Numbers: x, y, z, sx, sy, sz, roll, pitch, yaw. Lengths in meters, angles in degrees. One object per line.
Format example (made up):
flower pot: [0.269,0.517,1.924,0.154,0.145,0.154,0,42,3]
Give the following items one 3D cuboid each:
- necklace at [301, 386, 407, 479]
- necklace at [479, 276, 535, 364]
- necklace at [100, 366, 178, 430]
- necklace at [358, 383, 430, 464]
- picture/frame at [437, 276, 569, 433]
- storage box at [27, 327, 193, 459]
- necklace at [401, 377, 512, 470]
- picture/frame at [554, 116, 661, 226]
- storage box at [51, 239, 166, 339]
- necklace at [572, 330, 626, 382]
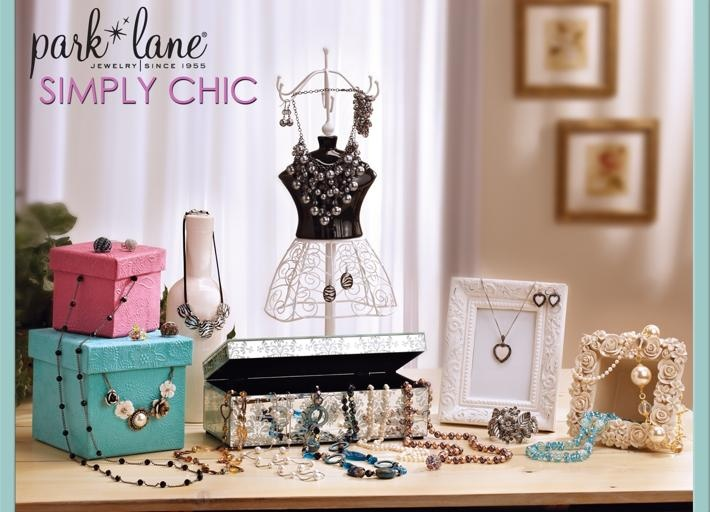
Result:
necklace: [-0.001,0.399,2.192,0.157,0.122,0.225,4,21,-23]
necklace: [0.379,0.169,2.409,0.152,0.292,0.034,3,1,14]
necklace: [-0.509,0.325,2.221,0.121,0.120,0.037,-2,0,-27]
necklace: [0.077,0.421,2.290,0.170,0.193,0.156,5,-12,-17]
picture/frame: [0.367,0.255,2.403,0.282,0.433,0.042,4,-7,7]
storage box: [-0.564,0.292,2.273,0.283,0.299,0.286,2,-4,-41]
necklace: [0.230,0.397,2.254,0.133,0.158,0.286,0,-5,-25]
picture/frame: [0.750,-0.274,2.894,0.260,0.326,0.022,0,2,-4]
storage box: [-0.589,0.060,2.316,0.209,0.230,0.225,4,5,26]
necklace: [0.582,0.248,2.333,0.119,0.119,0.037,37,8,21]
